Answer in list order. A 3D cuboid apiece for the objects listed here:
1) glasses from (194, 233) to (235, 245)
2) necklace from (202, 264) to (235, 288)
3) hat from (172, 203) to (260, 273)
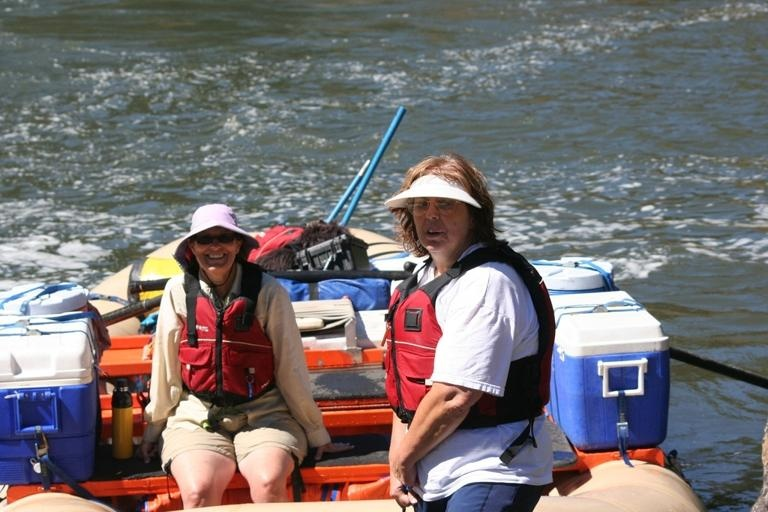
[{"bbox_3d":[-2.162,-0.240,19.221,0.473,0.183,0.068,-3,8,1],"label":"glasses"},{"bbox_3d":[-2.136,0.251,19.221,0.294,0.270,0.114,-3,-16,3],"label":"necklace"},{"bbox_3d":[-2.200,-0.193,19.553,1.128,0.498,1.011,-6,-26,3],"label":"hat"}]
